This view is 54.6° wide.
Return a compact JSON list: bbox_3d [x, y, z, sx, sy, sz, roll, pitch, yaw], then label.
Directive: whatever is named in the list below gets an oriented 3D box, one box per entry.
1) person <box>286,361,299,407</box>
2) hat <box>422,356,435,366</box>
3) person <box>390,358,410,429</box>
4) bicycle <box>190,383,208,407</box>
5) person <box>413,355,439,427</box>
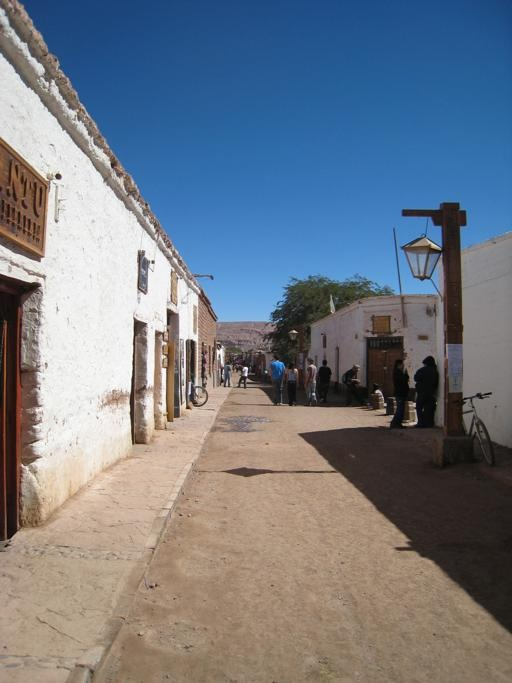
[{"bbox_3d":[1.246,1.506,17.667,0.339,1.496,0.784,2,-2,2],"label":"person"},{"bbox_3d":[3.849,0.433,11.037,0.225,0.203,0.505,1,-3,19],"label":"hat"},{"bbox_3d":[3.508,1.235,12.111,0.354,1.581,1.562,1,-3,19],"label":"person"},{"bbox_3d":[-1.965,1.821,16.816,0.174,0.747,0.736,-14,15,30],"label":"bicycle"},{"bbox_3d":[3.799,1.069,11.192,0.622,1.634,0.654,6,11,25],"label":"person"}]
